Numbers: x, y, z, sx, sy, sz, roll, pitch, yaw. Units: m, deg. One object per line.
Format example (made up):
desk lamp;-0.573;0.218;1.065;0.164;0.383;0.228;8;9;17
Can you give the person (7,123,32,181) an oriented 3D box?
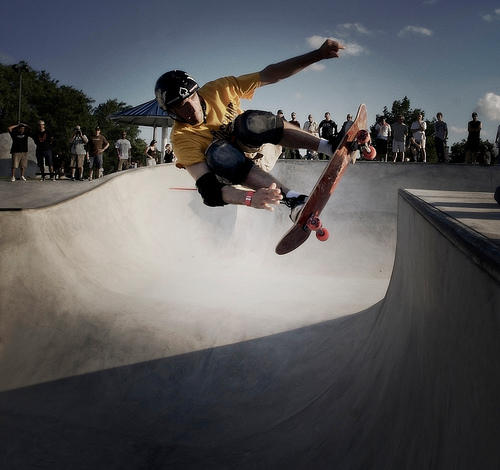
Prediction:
person;-5.604;-1.976;9.691;0.537;1.430;1.037;-6;16;-31
